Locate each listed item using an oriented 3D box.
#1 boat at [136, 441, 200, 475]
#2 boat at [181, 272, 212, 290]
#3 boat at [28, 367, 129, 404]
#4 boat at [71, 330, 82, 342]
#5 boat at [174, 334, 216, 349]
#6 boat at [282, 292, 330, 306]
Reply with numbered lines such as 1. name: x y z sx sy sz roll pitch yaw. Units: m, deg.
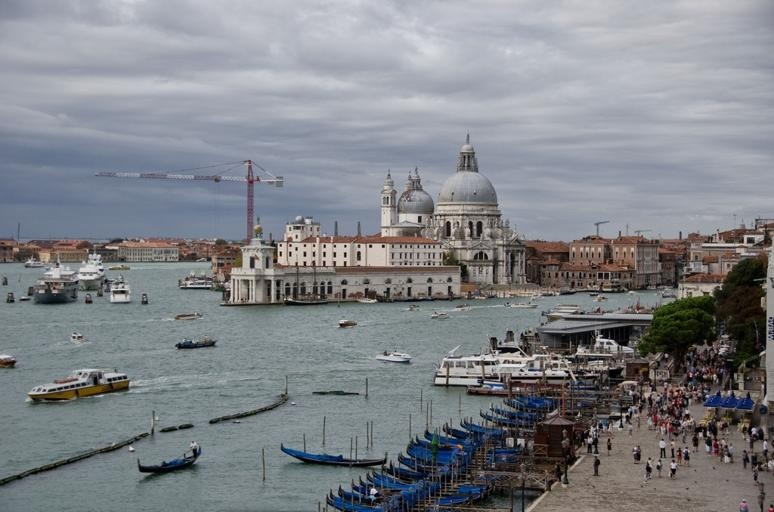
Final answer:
1. boat: -9.454 8.817 49.045 3.386 1.096 0.995 0 -6 -40
2. boat: -27.464 3.373 164.019 4.374 1.828 23.936 -3 6 -9
3. boat: -16.281 6.789 60.617 5.052 1.370 1.892 -6 11 -35
4. boat: -21.733 5.566 79.779 0.791 0.476 1.493 0 -2 -23
5. boat: -12.949 5.794 77.297 2.689 0.669 1.005 -4 10 -31
6. boat: -8.283 4.252 117.456 5.007 1.056 1.461 0 3 -4
